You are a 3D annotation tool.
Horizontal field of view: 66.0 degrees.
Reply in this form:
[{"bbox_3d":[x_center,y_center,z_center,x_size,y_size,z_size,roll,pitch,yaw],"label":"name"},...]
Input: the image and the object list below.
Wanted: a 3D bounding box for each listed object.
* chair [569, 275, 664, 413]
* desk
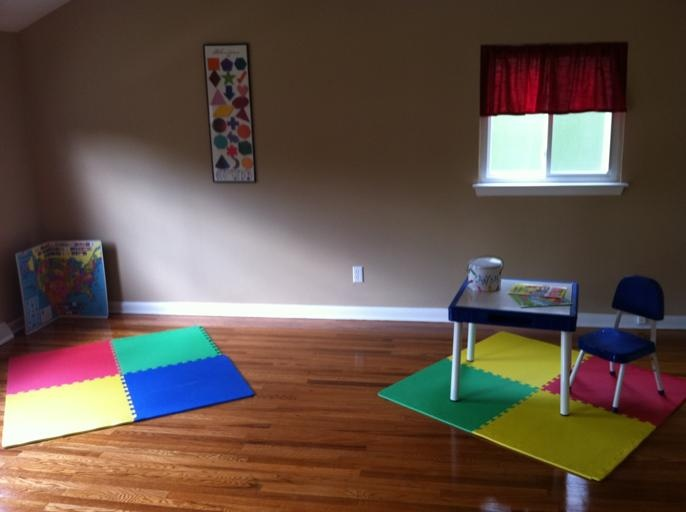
[{"bbox_3d":[1.876,0.561,3.603,0.525,0.795,0.487,-15,17,-31],"label":"chair"},{"bbox_3d":[1.386,0.526,3.588,0.818,0.591,0.804,-20,13,-33],"label":"desk"}]
